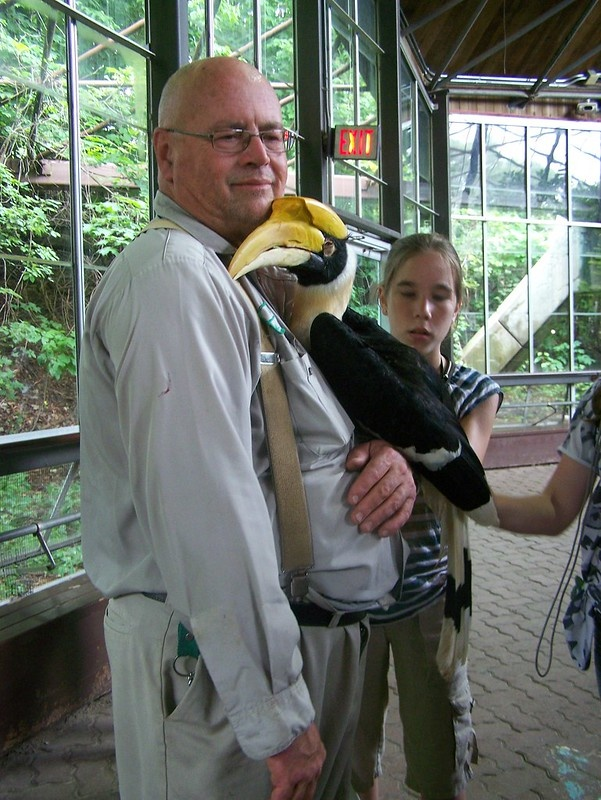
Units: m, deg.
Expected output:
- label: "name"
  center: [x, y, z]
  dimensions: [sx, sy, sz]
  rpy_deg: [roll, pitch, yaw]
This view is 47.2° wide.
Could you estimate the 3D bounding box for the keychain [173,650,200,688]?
- label: "keychain"
  center: [-0.187, 0.430, 1.111]
  dimensions: [0.020, 0.038, 0.050]
  rpy_deg: [-9, 54, -16]
